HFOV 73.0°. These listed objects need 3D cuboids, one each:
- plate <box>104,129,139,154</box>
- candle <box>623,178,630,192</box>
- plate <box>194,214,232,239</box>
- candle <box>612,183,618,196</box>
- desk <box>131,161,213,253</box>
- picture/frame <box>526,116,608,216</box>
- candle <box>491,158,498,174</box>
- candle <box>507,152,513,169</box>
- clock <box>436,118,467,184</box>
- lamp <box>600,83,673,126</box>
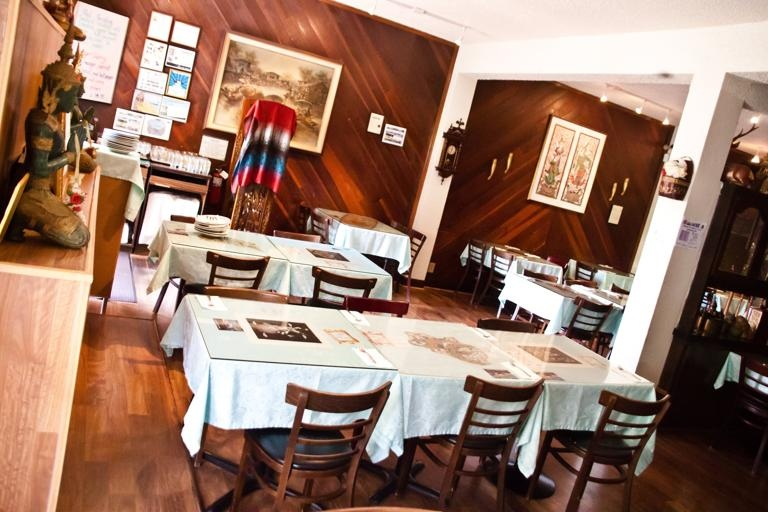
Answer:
[{"bbox_3d":[-2.824,-1.229,5.549,0.356,0.175,0.362,18,16,39],"label":"plate"},{"bbox_3d":[4.641,-1.355,9.916,0.046,0.222,0.162,17,10,41],"label":"candle"},{"bbox_3d":[-1.643,-0.322,5.047,0.245,0.121,0.256,4,10,2],"label":"plate"},{"bbox_3d":[4.392,-1.266,9.845,0.132,0.218,0.036,5,9,-33],"label":"candle"},{"bbox_3d":[-2.828,-0.623,7.032,0.837,1.176,0.586,11,-5,-15],"label":"desk"},{"bbox_3d":[3.264,-1.690,9.368,1.442,1.728,0.112,13,12,-26],"label":"picture/frame"},{"bbox_3d":[1.898,-1.531,8.933,0.078,0.311,0.043,15,2,-25],"label":"candle"},{"bbox_3d":[2.203,-1.657,9.010,0.064,0.340,0.054,10,1,-28],"label":"candle"},{"bbox_3d":[1.086,-1.709,8.384,0.351,1.034,0.139,7,9,-25],"label":"clock"},{"bbox_3d":[4.277,-2.601,8.834,1.306,0.197,0.278,5,31,-47],"label":"lamp"}]
